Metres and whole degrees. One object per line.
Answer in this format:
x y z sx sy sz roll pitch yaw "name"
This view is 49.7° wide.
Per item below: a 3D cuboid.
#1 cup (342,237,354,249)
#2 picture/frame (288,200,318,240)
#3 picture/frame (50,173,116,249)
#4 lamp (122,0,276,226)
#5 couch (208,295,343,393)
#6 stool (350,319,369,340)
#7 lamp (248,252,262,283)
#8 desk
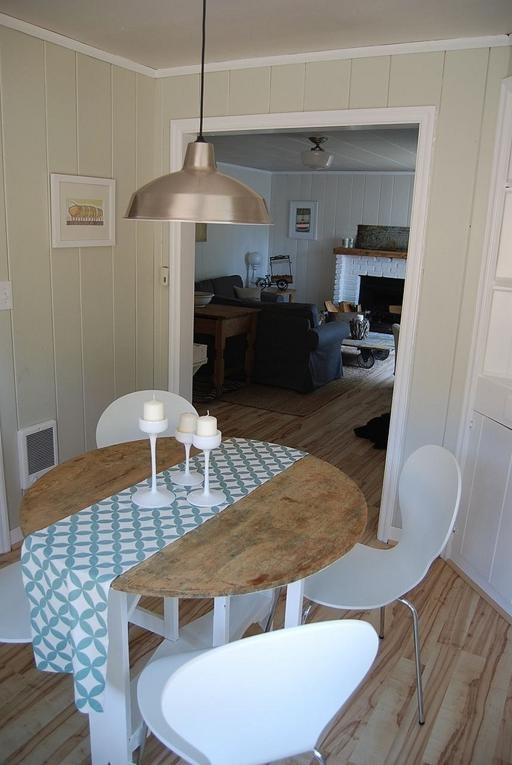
1.502 -2.252 8.988 0.212 0.196 0.134 8 19 28 "cup"
0.815 -2.779 9.360 0.591 0.721 0.062 11 25 30 "picture/frame"
-0.872 -0.854 2.733 0.017 0.344 0.397 11 19 23 "picture/frame"
-0.117 -0.463 1.200 0.320 0.235 0.193 0 10 -14 "lamp"
0.231 -0.457 5.623 1.340 1.058 0.835 13 30 29 "couch"
1.197 -0.632 6.600 0.256 0.288 0.226 0 3 -25 "stool"
-0.028 -1.968 9.474 0.214 0.528 0.601 3 10 1 "lamp"
-0.434 -0.366 5.520 0.725 0.732 0.806 4 13 16 "desk"
